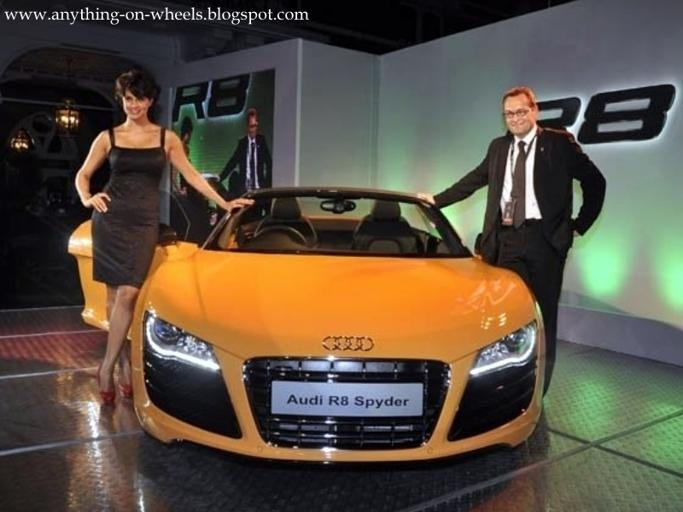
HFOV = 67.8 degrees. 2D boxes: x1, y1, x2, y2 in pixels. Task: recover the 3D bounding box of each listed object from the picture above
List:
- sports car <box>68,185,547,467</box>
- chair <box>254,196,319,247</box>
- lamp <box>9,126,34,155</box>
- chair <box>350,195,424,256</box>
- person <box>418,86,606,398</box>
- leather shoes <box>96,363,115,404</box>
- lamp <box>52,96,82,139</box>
[{"bbox_3d":[-0.066,0.199,2.519,2.002,1.116,1.365,4,6,25],"label":"sports car"},{"bbox_3d":[-0.373,-0.201,3.407,0.335,0.509,0.486,-4,7,-15],"label":"chair"},{"bbox_3d":[-4.738,-1.721,7.485,0.202,0.386,0.347,5,7,35],"label":"lamp"},{"bbox_3d":[0.279,-0.147,3.500,0.437,0.383,0.803,2,5,2],"label":"chair"},{"bbox_3d":[1.161,-0.128,3.393,0.952,1.956,0.469,6,29,31],"label":"person"},{"bbox_3d":[-1.490,0.818,3.221,0.085,0.325,0.125,-2,10,-12],"label":"leather shoes"},{"bbox_3d":[-4.550,-2.327,8.437,0.489,0.610,0.504,0,1,-27],"label":"lamp"}]
